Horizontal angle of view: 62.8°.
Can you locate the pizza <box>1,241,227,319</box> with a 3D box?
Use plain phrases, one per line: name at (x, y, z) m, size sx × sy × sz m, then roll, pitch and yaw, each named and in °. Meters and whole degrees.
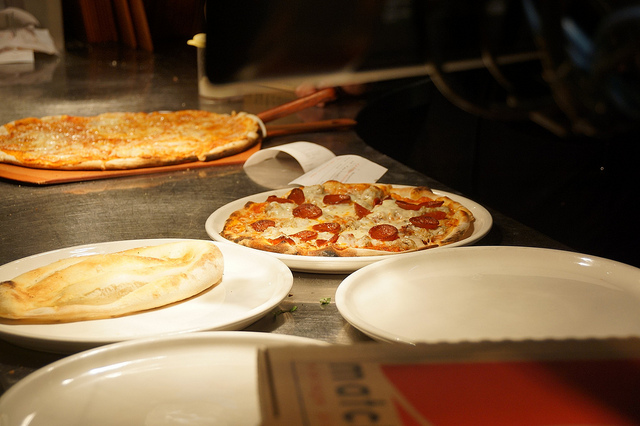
pizza at (-0.287, 0.075, 0.739) m, size 0.229 × 0.037 × 0.121 m, roll -5°, pitch 19°, yaw -26°
